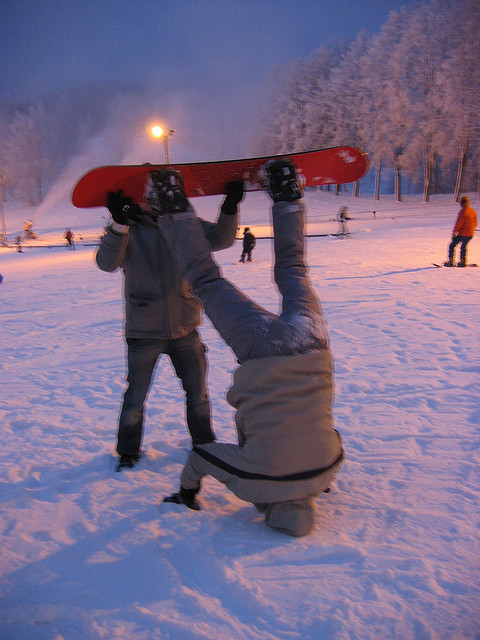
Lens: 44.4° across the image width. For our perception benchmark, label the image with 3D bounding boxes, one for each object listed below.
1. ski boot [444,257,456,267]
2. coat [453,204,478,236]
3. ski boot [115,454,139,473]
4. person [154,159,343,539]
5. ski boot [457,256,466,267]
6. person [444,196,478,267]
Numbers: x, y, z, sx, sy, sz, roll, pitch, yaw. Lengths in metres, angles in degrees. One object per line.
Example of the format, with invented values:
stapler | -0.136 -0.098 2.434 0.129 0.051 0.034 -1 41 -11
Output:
ski boot | 3.992 -1.114 11.092 0.203 0.188 0.548 3 13 19
coat | 4.059 -1.793 10.559 0.363 0.535 0.455 3 15 18
ski boot | -0.667 0.830 3.466 0.140 0.068 0.183 -3 12 -10
person | 0.105 0.140 2.713 0.655 1.731 0.746 -13 18 -37
ski boot | 4.174 -1.086 10.926 0.064 0.109 0.185 -7 29 -8
person | 4.081 -1.605 10.800 0.507 1.269 1.098 3 15 19
